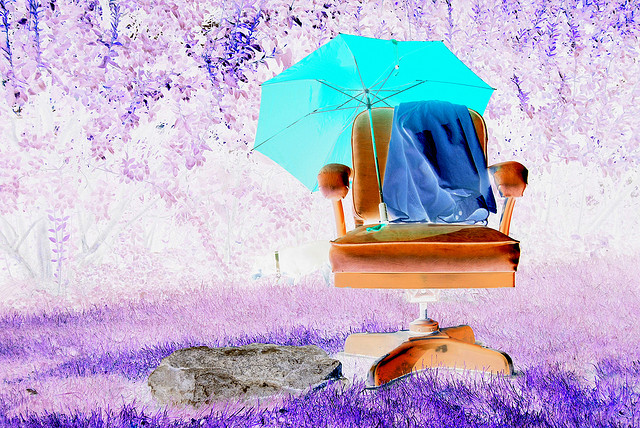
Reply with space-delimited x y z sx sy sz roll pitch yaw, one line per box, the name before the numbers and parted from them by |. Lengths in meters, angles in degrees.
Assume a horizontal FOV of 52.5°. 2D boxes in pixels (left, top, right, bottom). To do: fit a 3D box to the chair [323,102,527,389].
chair | 0.672 0.107 4.285 1.261 1.746 1.370 0 4 18
